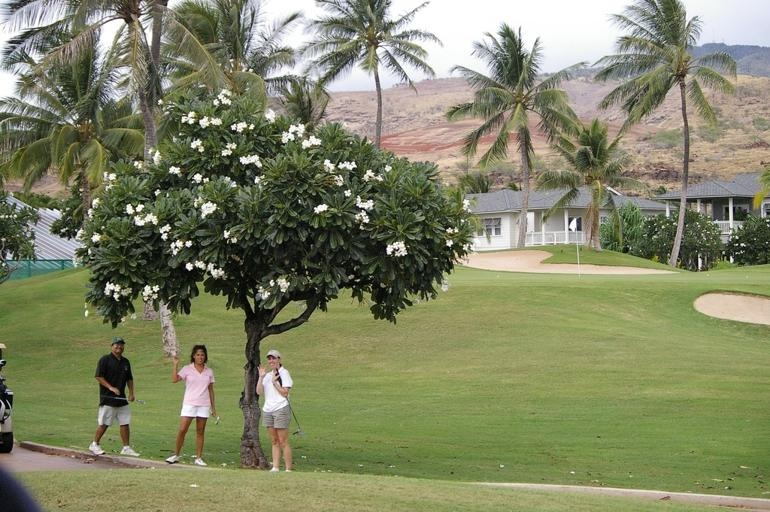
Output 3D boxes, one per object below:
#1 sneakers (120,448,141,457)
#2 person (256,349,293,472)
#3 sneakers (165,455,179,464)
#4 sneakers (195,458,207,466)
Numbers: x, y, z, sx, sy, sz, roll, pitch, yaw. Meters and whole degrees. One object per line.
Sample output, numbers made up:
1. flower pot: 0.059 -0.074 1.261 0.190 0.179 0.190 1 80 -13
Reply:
1. sneakers: -7.470 5.757 28.899 0.663 0.256 0.224 7 4 0
2. person: -3.173 4.540 28.734 0.924 3.379 1.485 -4 12 -10
3. sneakers: -6.080 5.879 28.424 0.469 0.188 0.165 0 -8 10
4. sneakers: -5.366 5.963 28.488 0.229 0.162 0.437 8 3 -40
